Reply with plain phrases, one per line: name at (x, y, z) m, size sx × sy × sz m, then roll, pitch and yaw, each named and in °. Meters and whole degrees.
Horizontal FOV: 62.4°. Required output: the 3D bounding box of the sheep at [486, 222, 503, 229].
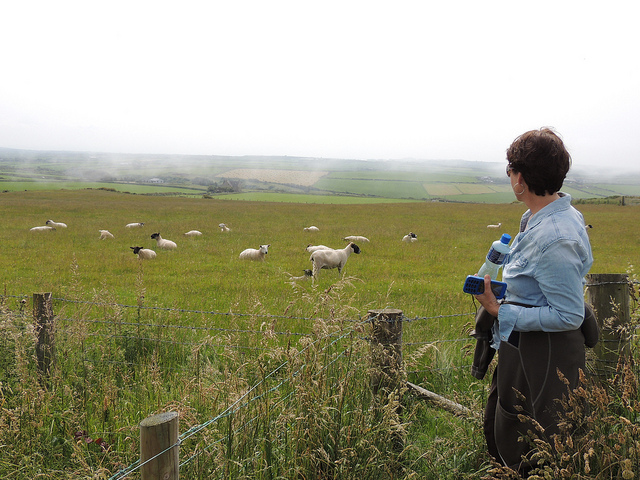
sheep at (13.042, -1.095, 39.467) m, size 0.740 × 0.531 × 0.271 m, roll -4°, pitch 42°, yaw 1°

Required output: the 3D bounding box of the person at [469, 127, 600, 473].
person at (2.155, 0.640, 5.328) m, size 1.107 × 3.560 × 0.748 m, roll 5°, pitch 7°, yaw 29°

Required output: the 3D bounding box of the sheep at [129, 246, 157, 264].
sheep at (-7.462, 0.638, 22.180) m, size 0.941 × 0.542 × 0.423 m, roll 12°, pitch -4°, yaw -20°

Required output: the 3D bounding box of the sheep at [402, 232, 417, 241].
sheep at (5.275, -0.234, 30.960) m, size 0.992 × 0.538 × 0.355 m, roll -1°, pitch 19°, yaw -42°

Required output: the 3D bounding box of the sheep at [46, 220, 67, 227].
sheep at (-17.332, -1.109, 34.673) m, size 1.054 × 0.580 × 0.267 m, roll 10°, pitch 31°, yaw -29°

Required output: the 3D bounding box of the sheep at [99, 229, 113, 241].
sheep at (-11.874, -0.288, 29.276) m, size 0.600 × 0.278 × 1.018 m, roll -35°, pitch -12°, yaw 13°

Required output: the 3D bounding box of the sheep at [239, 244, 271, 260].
sheep at (-2.932, 0.514, 23.242) m, size 1.202 × 0.633 × 0.703 m, roll 2°, pitch 6°, yaw -1°

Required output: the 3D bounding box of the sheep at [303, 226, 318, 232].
sheep at (-0.577, -0.727, 36.900) m, size 0.510 × 0.351 × 1.026 m, roll 15°, pitch 21°, yaw 41°

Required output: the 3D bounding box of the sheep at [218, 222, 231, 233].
sheep at (-6.493, -0.852, 36.832) m, size 0.468 × 0.826 × 1.553 m, roll -16°, pitch 18°, yaw -34°
